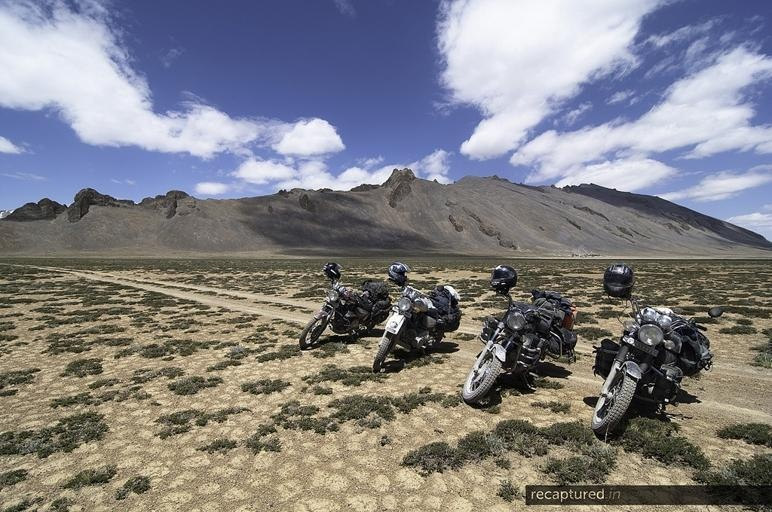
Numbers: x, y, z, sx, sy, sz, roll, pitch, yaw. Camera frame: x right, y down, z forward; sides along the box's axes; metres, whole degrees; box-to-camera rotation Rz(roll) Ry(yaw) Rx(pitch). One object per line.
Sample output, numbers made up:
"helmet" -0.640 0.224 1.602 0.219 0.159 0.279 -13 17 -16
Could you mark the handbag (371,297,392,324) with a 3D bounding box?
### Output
"handbag" -0.154 2.389 13.682 0.499 1.155 0.855 31 2 -10
